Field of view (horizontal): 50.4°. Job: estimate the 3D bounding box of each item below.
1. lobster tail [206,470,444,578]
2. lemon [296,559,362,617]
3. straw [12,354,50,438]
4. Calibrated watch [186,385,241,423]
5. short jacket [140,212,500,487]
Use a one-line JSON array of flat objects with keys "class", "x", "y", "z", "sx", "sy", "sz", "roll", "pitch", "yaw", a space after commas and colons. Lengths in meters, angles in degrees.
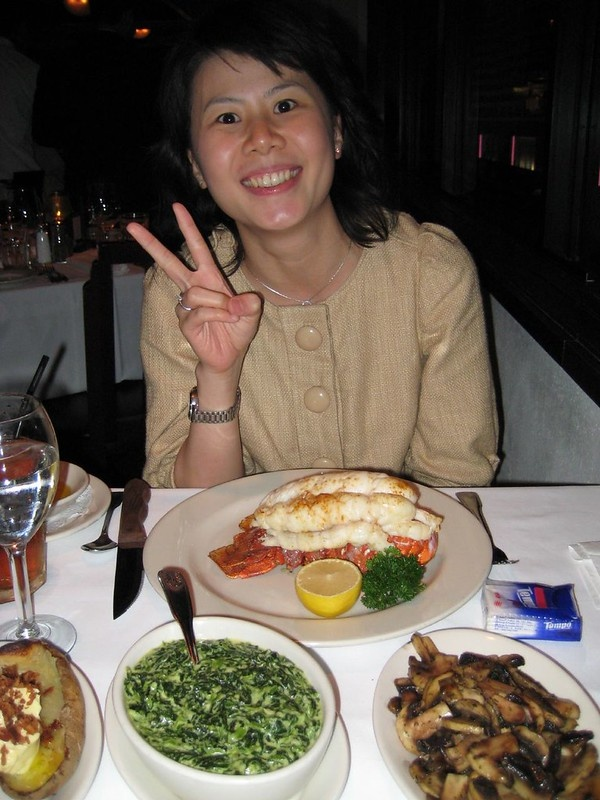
[{"class": "lobster tail", "x": 0.055, "y": 0.213, "z": 1.171, "sx": 0.428, "sy": 0.115, "sz": 0.304, "roll": -6, "pitch": 10, "yaw": -9}, {"class": "lemon", "x": 0.041, "y": 0.279, "z": 1.007, "sx": 0.082, "sy": 0.070, "sz": 0.083, "roll": -12, "pitch": 20, "yaw": -41}, {"class": "straw", "x": -0.514, "y": -0.040, "z": 1.251, "sx": 0.029, "sy": 0.027, "sz": 0.254, "roll": 4, "pitch": -16, "yaw": -28}, {"class": "Calibrated watch", "x": -0.233, "y": 0.012, "z": 1.732, "sx": 0.149, "sy": 0.088, "sz": 0.118, "roll": -4, "pitch": 12, "yaw": -7}, {"class": "short jacket", "x": 0.070, "y": -0.146, "z": 1.930, "sx": 1.048, "sy": 0.784, "sz": 0.511, "roll": -2, "pitch": 28, "yaw": 6}]
